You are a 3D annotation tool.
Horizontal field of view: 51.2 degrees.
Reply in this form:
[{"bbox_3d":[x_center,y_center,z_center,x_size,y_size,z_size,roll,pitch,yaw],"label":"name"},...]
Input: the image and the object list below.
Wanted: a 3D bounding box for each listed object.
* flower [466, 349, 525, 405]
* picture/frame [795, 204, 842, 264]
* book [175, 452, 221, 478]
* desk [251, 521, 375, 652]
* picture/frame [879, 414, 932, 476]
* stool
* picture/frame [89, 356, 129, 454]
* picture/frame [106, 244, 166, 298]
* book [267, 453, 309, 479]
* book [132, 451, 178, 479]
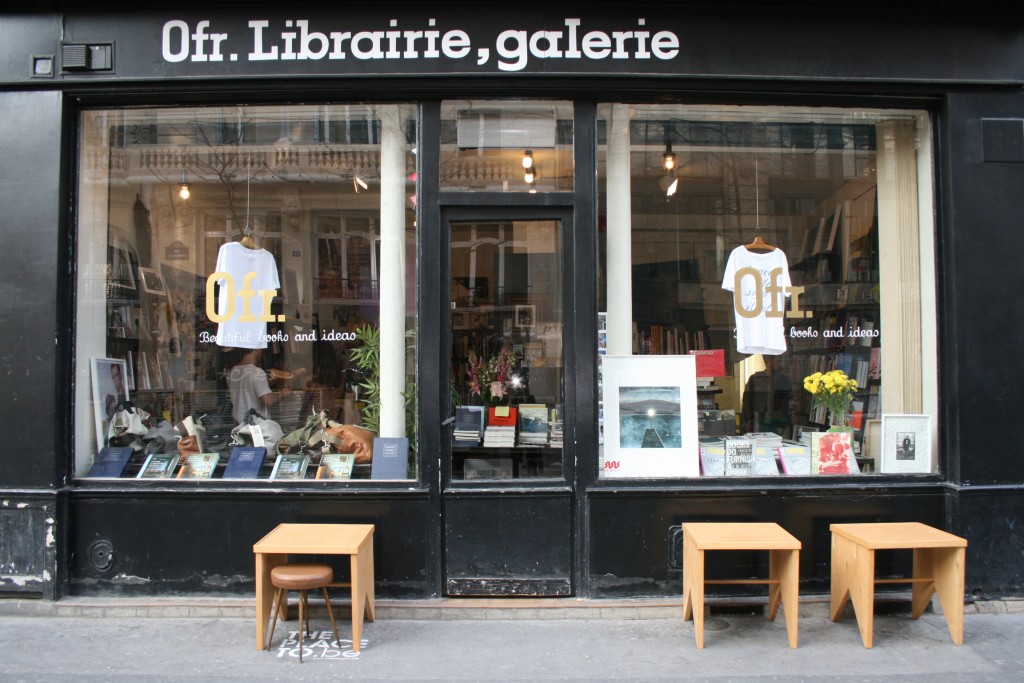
[{"bbox_3d":[-0.175,0.345,10.807,0.578,0.620,0.151,0,3,2],"label":"flower"},{"bbox_3d":[3.231,-1.052,11.126,0.252,0.448,1.114,4,14,17],"label":"picture/frame"},{"bbox_3d":[-3.185,1.253,10.830,0.389,0.226,0.194,-1,1,4],"label":"book"},{"bbox_3d":[-1.779,2.301,10.169,1.113,1.098,1.110,-2,-5,8],"label":"desk"},{"bbox_3d":[3.999,1.067,10.814,0.620,0.732,0.048,1,-10,6],"label":"picture/frame"},{"bbox_3d":[-1.948,2.468,9.986,0.664,0.769,0.831,-1,1,-12],"label":"stool"},{"bbox_3d":[-4.104,0.652,10.946,0.277,0.904,0.306,5,-11,4],"label":"picture/frame"},{"bbox_3d":[-3.891,-0.701,11.051,0.574,0.490,0.048,-1,-12,-9],"label":"picture/frame"},{"bbox_3d":[-2.246,1.263,10.811,0.368,0.222,0.196,-1,1,-1],"label":"book"},{"bbox_3d":[-3.585,1.263,10.813,0.387,0.248,0.246,-1,1,-11],"label":"book"}]
